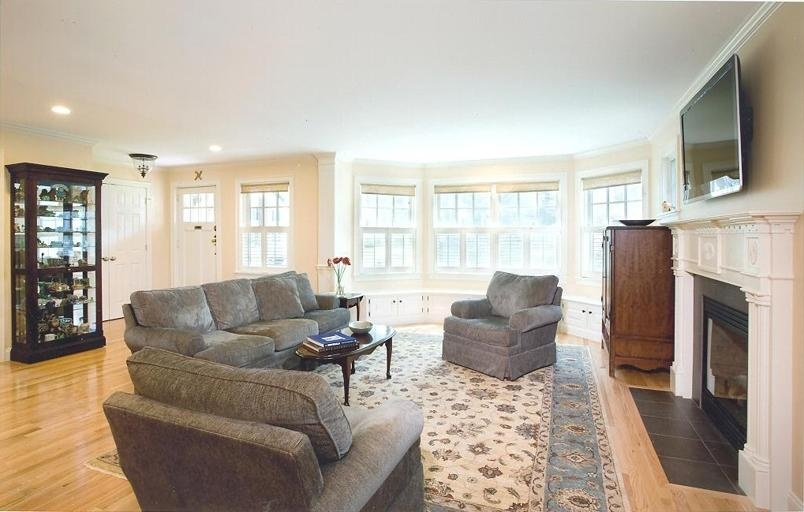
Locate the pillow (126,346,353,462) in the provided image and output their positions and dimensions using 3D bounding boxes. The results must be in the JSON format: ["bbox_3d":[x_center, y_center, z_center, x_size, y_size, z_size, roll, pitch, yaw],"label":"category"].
[{"bbox_3d":[-0.952,1.143,3.976,2.059,0.570,0.767,8,-14,14],"label":"pillow"}]

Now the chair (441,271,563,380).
[{"bbox_3d":[1.217,0.771,6.348,1.403,0.951,1.409,0,10,15],"label":"chair"}]

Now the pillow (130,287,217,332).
[{"bbox_3d":[-2.384,0.628,5.624,0.306,0.520,0.796,-4,2,25],"label":"pillow"}]

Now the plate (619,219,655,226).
[{"bbox_3d":[2.711,-0.378,6.044,0.348,0.090,0.377,-2,2,19],"label":"plate"}]

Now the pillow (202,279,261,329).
[{"bbox_3d":[-1.950,0.549,5.968,0.214,0.531,0.585,-29,-9,34],"label":"pillow"}]

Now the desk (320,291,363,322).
[{"bbox_3d":[-0.828,0.646,7.048,0.510,0.456,0.447,-5,-8,29],"label":"desk"}]

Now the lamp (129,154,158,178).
[{"bbox_3d":[-4.059,-1.408,8.122,0.392,0.297,0.388,0,3,4],"label":"lamp"}]

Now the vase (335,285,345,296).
[{"bbox_3d":[-0.909,0.505,7.645,0.145,0.150,0.139,-1,3,-5],"label":"vase"}]

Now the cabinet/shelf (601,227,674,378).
[{"bbox_3d":[2.687,0.513,5.867,0.664,1.450,1.699,0,4,18],"label":"cabinet/shelf"}]
